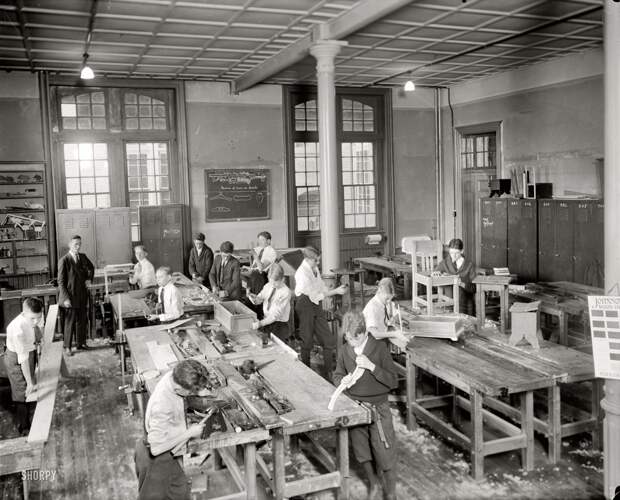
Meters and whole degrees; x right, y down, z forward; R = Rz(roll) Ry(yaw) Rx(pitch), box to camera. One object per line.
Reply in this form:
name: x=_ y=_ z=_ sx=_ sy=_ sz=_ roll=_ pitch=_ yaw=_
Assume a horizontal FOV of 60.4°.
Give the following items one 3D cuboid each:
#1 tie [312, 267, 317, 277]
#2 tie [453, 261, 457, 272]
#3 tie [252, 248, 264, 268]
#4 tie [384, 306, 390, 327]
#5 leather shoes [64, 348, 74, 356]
tie: x=0.071 y=0.332 z=7.873 sx=0.030 sy=0.114 sz=0.081 roll=-12 pitch=2 yaw=36
tie: x=2.363 y=0.274 z=8.735 sx=0.032 sy=0.169 sz=0.042 roll=-1 pitch=-10 yaw=10
tie: x=-1.034 y=0.192 z=10.476 sx=0.100 sy=0.386 sz=0.275 roll=-5 pitch=15 yaw=-14
tie: x=0.954 y=0.837 z=6.587 sx=0.048 sy=0.220 sz=0.145 roll=0 pitch=-6 yaw=17
leather shoes: x=-4.272 y=1.820 z=9.426 sx=0.125 sy=0.142 sz=0.236 roll=5 pitch=-1 yaw=-20
